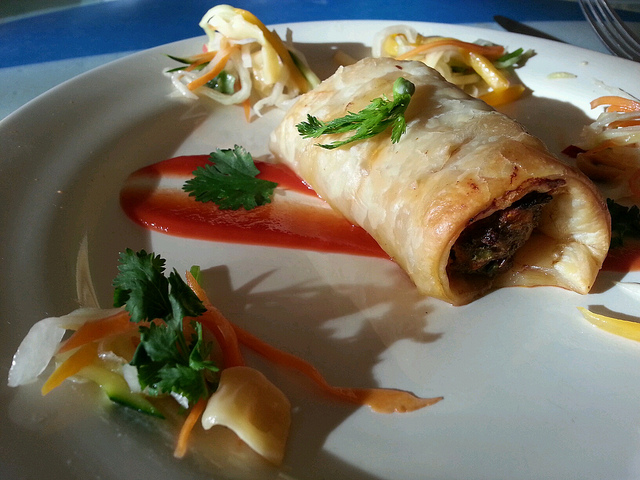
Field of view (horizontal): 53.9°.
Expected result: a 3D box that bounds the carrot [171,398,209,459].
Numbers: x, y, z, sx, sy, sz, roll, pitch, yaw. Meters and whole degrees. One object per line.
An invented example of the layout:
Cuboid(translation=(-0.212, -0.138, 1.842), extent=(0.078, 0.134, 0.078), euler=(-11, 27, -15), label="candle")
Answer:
Cuboid(translation=(-0.544, 0.799, 2.765), extent=(0.090, 0.055, 0.340), euler=(27, 47, -5), label="carrot")

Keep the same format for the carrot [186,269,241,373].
Cuboid(translation=(-0.506, 0.403, 2.984), extent=(0.061, 0.075, 0.508), euler=(-35, 76, -2), label="carrot")

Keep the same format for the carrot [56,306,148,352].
Cuboid(translation=(-0.956, 0.415, 2.865), extent=(0.438, 0.120, 0.138), euler=(-20, 25, 7), label="carrot")
